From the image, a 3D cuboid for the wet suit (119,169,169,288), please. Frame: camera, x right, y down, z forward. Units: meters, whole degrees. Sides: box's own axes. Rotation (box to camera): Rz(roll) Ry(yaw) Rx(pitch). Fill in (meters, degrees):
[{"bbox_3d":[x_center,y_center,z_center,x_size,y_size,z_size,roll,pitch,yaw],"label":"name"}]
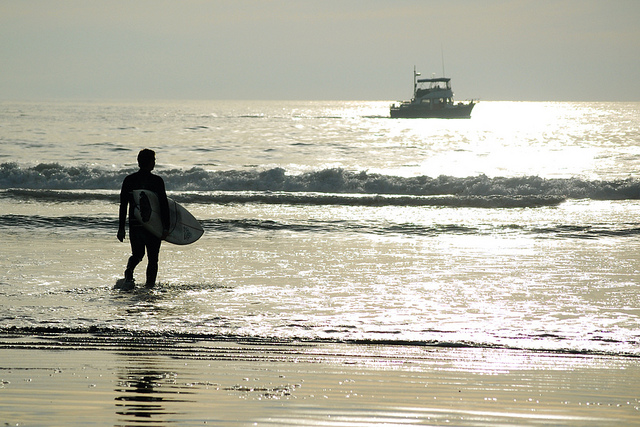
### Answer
[{"bbox_3d":[-5.742,0.473,44.669,1.651,3.777,0.840,6,-9,-6],"label":"wet suit"}]
